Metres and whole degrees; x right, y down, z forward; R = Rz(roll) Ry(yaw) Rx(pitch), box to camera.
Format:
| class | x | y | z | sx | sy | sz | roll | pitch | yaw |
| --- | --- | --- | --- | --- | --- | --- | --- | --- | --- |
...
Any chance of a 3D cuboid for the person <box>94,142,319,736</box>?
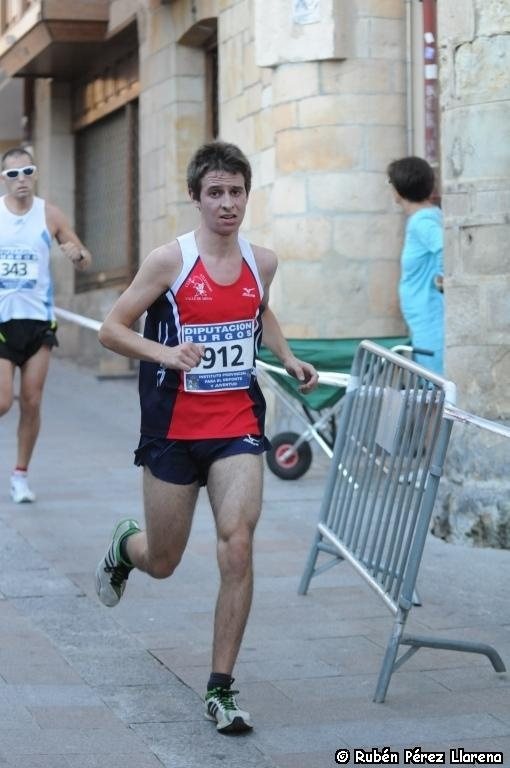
| class | x | y | z | sx | sy | sz | roll | pitch | yaw |
| --- | --- | --- | --- | --- | --- | --- | --- | --- | --- |
| person | -0.209 | 0.091 | 3.494 | 0.526 | 1.645 | 0.943 | 0 | 3 | 1 |

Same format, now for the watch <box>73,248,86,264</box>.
| class | x | y | z | sx | sy | sz | roll | pitch | yaw |
| --- | --- | --- | --- | --- | --- | --- | --- | --- | --- |
| watch | -0.969 | -0.703 | 6.353 | 0.034 | 0.072 | 0.056 | 15 | 9 | 27 |

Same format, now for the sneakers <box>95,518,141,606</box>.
| class | x | y | z | sx | sy | sz | roll | pitch | yaw |
| --- | --- | --- | --- | --- | --- | --- | --- | --- | --- |
| sneakers | -0.503 | 0.652 | 4.083 | 0.126 | 0.343 | 0.150 | 13 | 24 | -12 |

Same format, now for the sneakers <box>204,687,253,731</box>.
| class | x | y | z | sx | sy | sz | roll | pitch | yaw |
| --- | --- | --- | --- | --- | --- | --- | --- | --- | --- |
| sneakers | -0.070 | 0.889 | 3.135 | 0.128 | 0.098 | 0.152 | 0 | 3 | -2 |

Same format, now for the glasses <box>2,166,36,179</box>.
| class | x | y | z | sx | sy | sz | roll | pitch | yaw |
| --- | --- | --- | --- | --- | --- | --- | --- | --- | --- |
| glasses | -1.325 | -1.176 | 6.453 | 0.181 | 0.077 | 0.102 | 0 | 3 | -7 |

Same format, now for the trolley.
| class | x | y | z | sx | sy | sz | roll | pitch | yaw |
| --- | --- | --- | --- | --- | --- | --- | --- | --- | --- |
| trolley | 0.438 | 0.129 | 7.260 | 1.074 | 1.029 | 0.727 | 1 | 6 | 9 |
